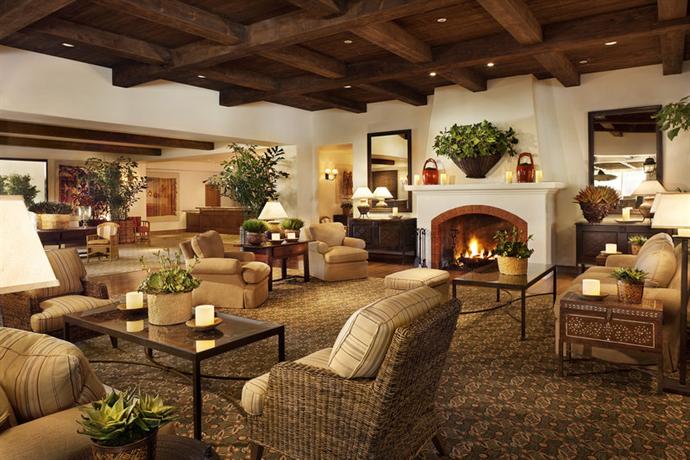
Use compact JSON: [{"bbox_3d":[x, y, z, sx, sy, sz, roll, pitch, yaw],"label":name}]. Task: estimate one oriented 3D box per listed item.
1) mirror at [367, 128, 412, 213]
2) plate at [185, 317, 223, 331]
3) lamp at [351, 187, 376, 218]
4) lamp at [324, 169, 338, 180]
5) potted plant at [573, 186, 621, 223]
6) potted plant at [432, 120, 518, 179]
[{"bbox_3d":[1.026,-1.306,9.638,1.081,1.782,0.306,0,7,27],"label":"mirror"},{"bbox_3d":[-1.160,0.770,3.547,0.285,0.069,0.214,-3,4,-17],"label":"plate"},{"bbox_3d":[0.421,-0.624,9.790,0.667,0.589,0.577,1,-5,-6],"label":"lamp"},{"bbox_3d":[-0.397,-1.525,11.671,0.253,0.259,0.447,-6,-2,28],"label":"lamp"},{"bbox_3d":[4.300,-0.436,7.589,0.773,0.568,0.710,-8,-9,22],"label":"potted plant"},{"bbox_3d":[2.307,-1.512,7.845,1.363,0.694,1.219,2,3,33],"label":"potted plant"}]
